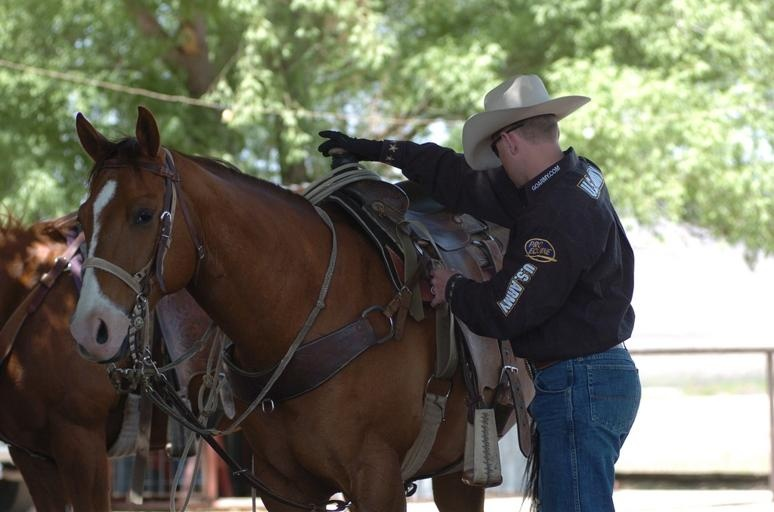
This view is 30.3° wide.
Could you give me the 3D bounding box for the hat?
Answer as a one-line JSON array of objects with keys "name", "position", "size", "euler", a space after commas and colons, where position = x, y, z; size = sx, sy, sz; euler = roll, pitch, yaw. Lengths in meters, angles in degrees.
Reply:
[{"name": "hat", "position": [1.155, -1.172, 13.084], "size": [0.979, 0.354, 0.847], "euler": [-30, -21, 27]}]
